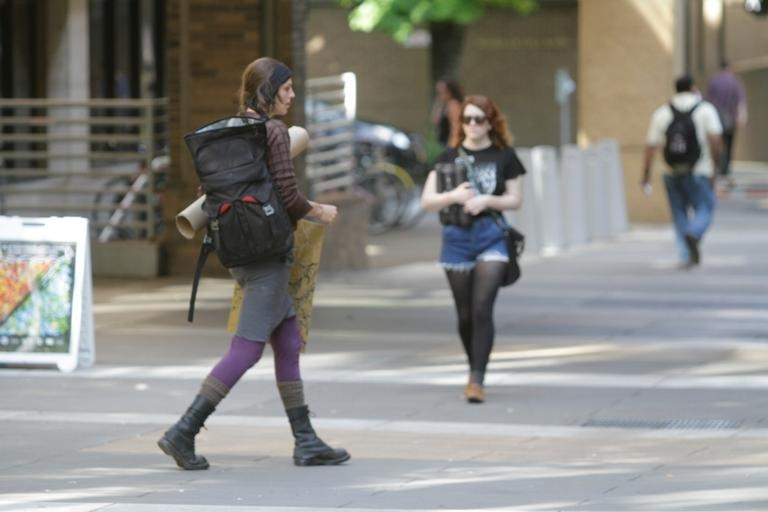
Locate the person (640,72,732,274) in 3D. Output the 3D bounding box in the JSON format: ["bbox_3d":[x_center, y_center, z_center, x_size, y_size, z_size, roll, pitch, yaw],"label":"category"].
[{"bbox_3d":[3.412,-0.915,17.144,0.812,2.190,0.469,1,11,25],"label":"person"}]

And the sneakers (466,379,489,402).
[{"bbox_3d":[0.775,1.131,12.900,0.164,0.165,0.161,-2,9,3],"label":"sneakers"}]

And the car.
[{"bbox_3d":[-0.561,-1.268,24.085,2.398,1.741,1.284,1,7,6],"label":"car"}]

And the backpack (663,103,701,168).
[{"bbox_3d":[3.311,-1.334,16.971,0.467,0.771,0.223,1,11,25],"label":"backpack"}]

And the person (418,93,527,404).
[{"bbox_3d":[0.835,-0.090,13.035,0.745,2.518,0.696,-7,11,-24],"label":"person"}]

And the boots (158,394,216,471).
[{"bbox_3d":[-1.442,1.295,11.303,0.430,0.567,0.166,-4,10,-8],"label":"boots"}]
